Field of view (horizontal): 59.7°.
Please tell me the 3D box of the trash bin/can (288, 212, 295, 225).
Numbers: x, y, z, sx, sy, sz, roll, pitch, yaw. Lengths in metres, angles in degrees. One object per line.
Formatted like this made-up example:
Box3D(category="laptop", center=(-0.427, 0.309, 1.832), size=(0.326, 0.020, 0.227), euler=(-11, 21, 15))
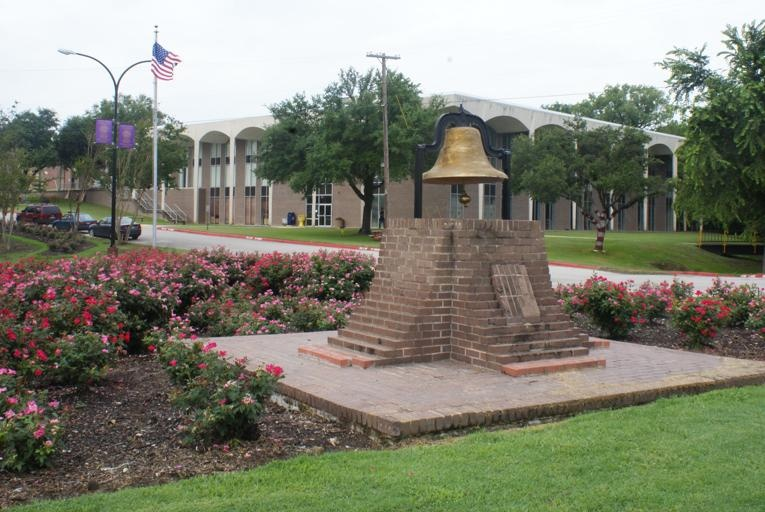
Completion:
Box3D(category="trash bin/can", center=(-8.728, -3.532, 63.579), size=(0.805, 1.127, 0.896), euler=(-3, 11, -8))
